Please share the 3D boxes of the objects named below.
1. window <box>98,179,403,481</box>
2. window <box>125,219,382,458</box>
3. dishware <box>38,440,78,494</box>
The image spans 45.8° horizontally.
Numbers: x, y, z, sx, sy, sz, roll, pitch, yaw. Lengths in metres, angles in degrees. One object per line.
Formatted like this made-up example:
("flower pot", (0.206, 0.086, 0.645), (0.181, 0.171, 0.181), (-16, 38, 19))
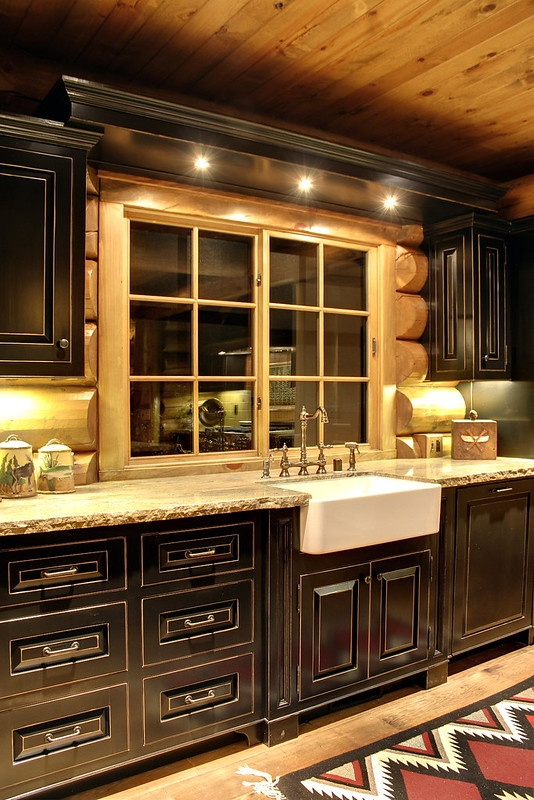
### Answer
("window", (-0.034, -0.259, 2.900), (1.369, 1.211, 0.174), (0, 0, -25))
("window", (-0.096, -0.278, 2.860), (1.182, 1.023, 0.185), (0, -1, -32))
("dishware", (-0.690, 0.240, 2.175), (0.137, 0.212, 0.150), (-4, -6, 34))
